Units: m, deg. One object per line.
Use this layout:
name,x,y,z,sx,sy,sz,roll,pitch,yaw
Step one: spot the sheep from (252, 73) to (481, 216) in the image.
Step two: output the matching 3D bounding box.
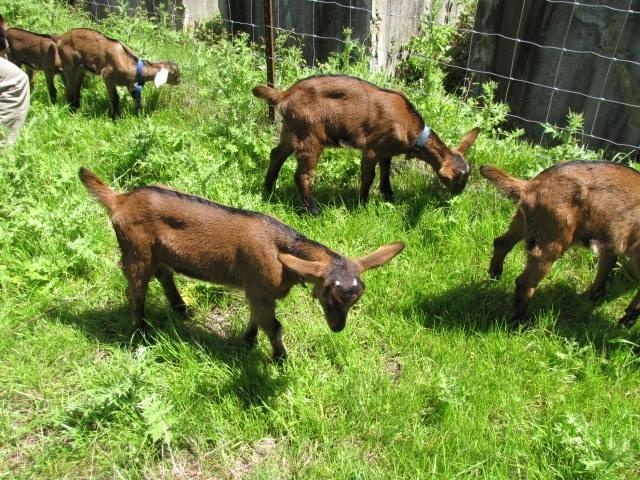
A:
sheep,0.508,-1.063,6.412,2.325,1.413,0.703,8,29,5

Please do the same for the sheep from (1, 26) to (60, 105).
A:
sheep,-3.937,-2.419,8.086,0.467,0.850,0.963,-16,33,-41

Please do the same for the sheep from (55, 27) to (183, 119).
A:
sheep,-2.808,-2.268,8.083,1.703,1.047,0.601,13,31,-7
